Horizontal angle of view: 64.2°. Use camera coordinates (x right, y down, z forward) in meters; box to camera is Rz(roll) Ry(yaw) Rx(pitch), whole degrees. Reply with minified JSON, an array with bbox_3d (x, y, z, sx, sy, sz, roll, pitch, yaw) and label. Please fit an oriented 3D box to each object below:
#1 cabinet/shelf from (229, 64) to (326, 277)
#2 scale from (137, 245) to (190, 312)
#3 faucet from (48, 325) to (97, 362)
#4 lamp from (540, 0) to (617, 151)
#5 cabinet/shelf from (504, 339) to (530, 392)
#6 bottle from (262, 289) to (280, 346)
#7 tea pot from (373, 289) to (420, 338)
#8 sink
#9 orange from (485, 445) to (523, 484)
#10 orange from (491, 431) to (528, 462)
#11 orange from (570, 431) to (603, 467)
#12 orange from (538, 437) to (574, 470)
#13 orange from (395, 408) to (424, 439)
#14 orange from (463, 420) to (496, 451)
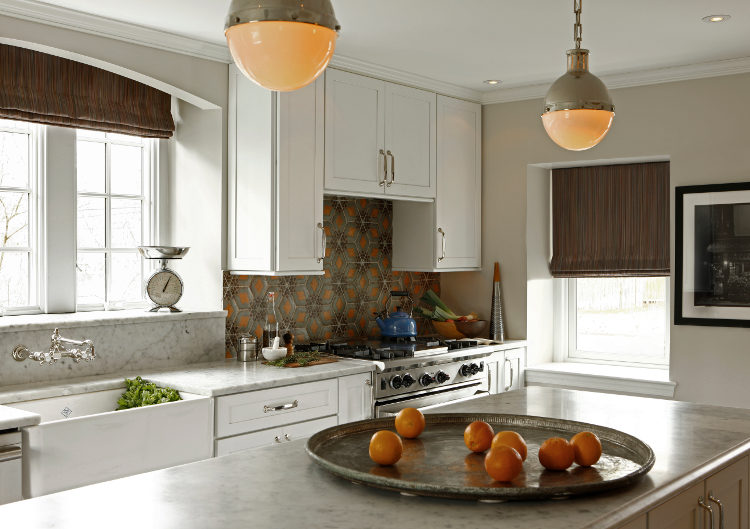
[{"bbox_3d":[-0.626,-0.617,3.868,0.615,1.341,0.300,-1,1,-13],"label":"cabinet/shelf"},{"bbox_3d":[-1.352,0.097,3.803,0.385,0.457,0.382,2,-3,-26],"label":"scale"},{"bbox_3d":[-1.638,0.447,3.257,0.236,0.133,0.333,-1,1,-28],"label":"faucet"},{"bbox_3d":[0.772,-0.646,2.298,0.213,0.386,0.189,-1,1,-27],"label":"lamp"},{"bbox_3d":[1.114,0.791,4.770,0.080,0.375,0.312,0,1,37],"label":"cabinet/shelf"},{"bbox_3d":[-0.706,0.362,4.067,0.113,0.364,0.419,-1,1,-9],"label":"bottle"},{"bbox_3d":[0.169,0.394,4.838,0.319,0.370,0.657,-1,1,3],"label":"tea pot"},{"bbox_3d":[-1.345,0.821,3.045,0.879,0.320,0.540,-1,1,-43],"label":"sink"},{"bbox_3d":[0.356,0.552,1.711,0.099,0.095,0.103,2,-10,-33],"label":"orange"},{"bbox_3d":[0.402,0.518,1.795,0.090,0.095,0.098,7,-5,13],"label":"orange"},{"bbox_3d":[0.628,0.548,1.789,0.080,0.088,0.043,-1,1,-12],"label":"orange"},{"bbox_3d":[0.536,0.561,1.778,0.097,0.092,0.100,-4,2,0],"label":"orange"},{"bbox_3d":[0.118,0.546,2.099,0.103,0.096,0.131,-1,1,1],"label":"orange"},{"bbox_3d":[0.336,0.564,1.935,0.088,0.091,0.103,-5,29,25],"label":"orange"}]
